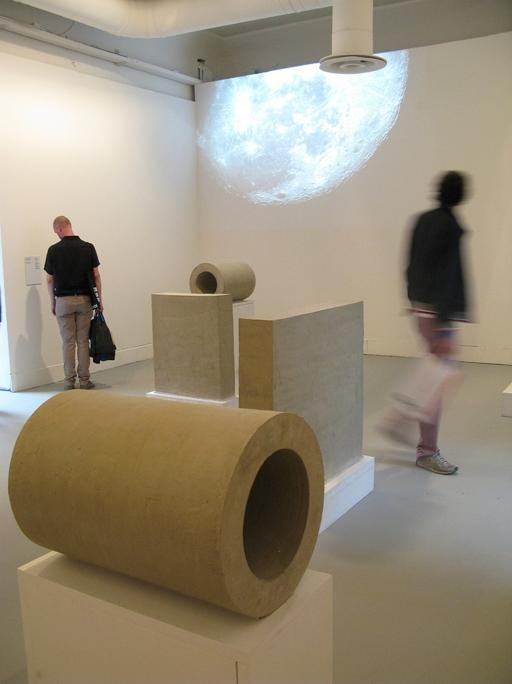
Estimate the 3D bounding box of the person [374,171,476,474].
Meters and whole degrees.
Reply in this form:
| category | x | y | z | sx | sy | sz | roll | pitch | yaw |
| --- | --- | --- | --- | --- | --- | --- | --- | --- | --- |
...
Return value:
| category | x | y | z | sx | sy | sz | roll | pitch | yaw |
| --- | --- | --- | --- | --- | --- | --- | --- | --- | --- |
| person | 1.075 | -0.100 | 3.332 | 0.432 | 1.867 | 0.571 | 1 | 7 | 15 |

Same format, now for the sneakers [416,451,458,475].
| category | x | y | z | sx | sy | sz | roll | pitch | yaw |
| --- | --- | --- | --- | --- | --- | --- | --- | --- | --- |
| sneakers | 1.143 | 0.767 | 3.409 | 0.275 | 0.141 | 0.099 | 4 | 13 | 42 |

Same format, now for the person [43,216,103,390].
| category | x | y | z | sx | sy | sz | roll | pitch | yaw |
| --- | --- | --- | --- | --- | --- | --- | --- | --- | --- |
| person | -1.844 | -0.372 | 5.408 | 0.509 | 1.779 | 0.269 | -3 | 7 | -21 |
